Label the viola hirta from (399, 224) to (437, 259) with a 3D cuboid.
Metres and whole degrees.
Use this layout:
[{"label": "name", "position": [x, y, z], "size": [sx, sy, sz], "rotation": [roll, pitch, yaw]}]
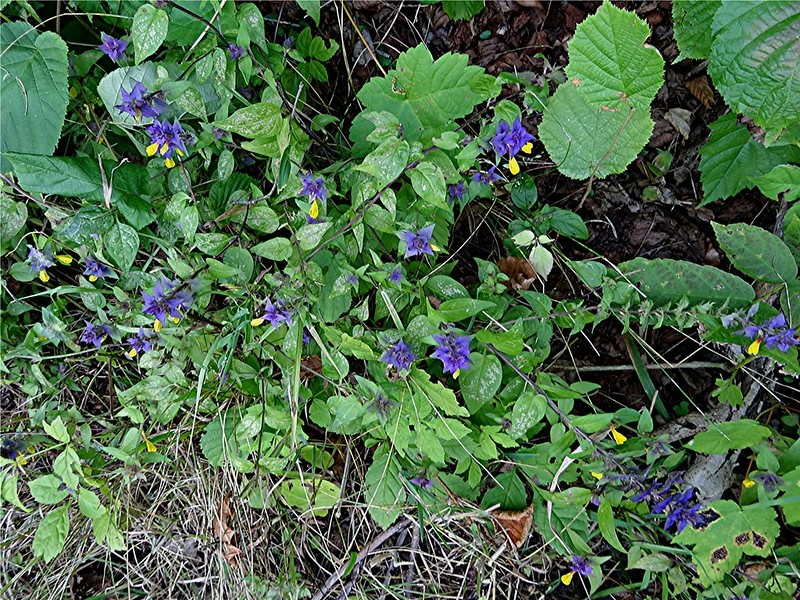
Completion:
[{"label": "viola hirta", "position": [0.055, -0.214, 2.202], "size": [0.122, 0.147, 0.099], "rotation": [-1, 64, -10]}]
